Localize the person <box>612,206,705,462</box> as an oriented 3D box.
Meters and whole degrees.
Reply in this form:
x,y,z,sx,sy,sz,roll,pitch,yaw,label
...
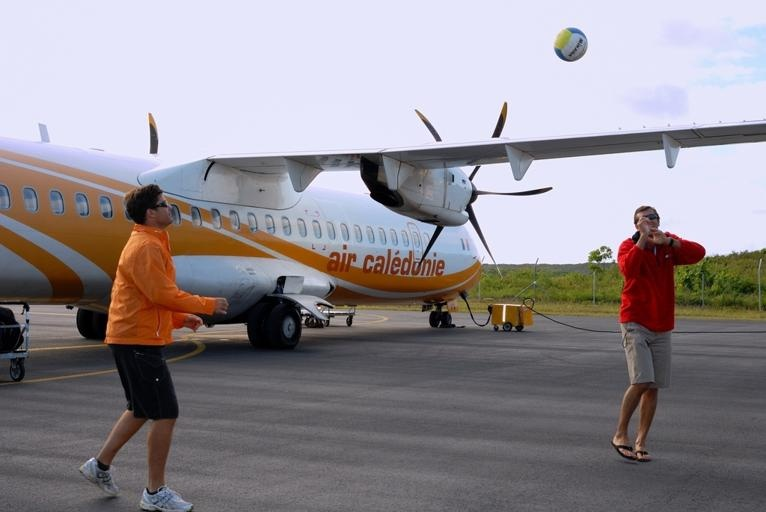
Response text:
x,y,z,sx,sy,sz,roll,pitch,yaw,label
2.774,0.797,5.972,0.621,2.633,0.997,2,3,44,person

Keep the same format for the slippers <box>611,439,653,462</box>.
x,y,z,sx,sy,sz,roll,pitch,yaw,label
2.525,2.004,5.872,0.171,0.072,0.305,4,3,-23,slippers

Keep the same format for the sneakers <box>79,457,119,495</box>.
x,y,z,sx,sy,sz,roll,pitch,yaw,label
-2.440,1.897,4.891,0.155,0.320,0.115,-26,29,19,sneakers
